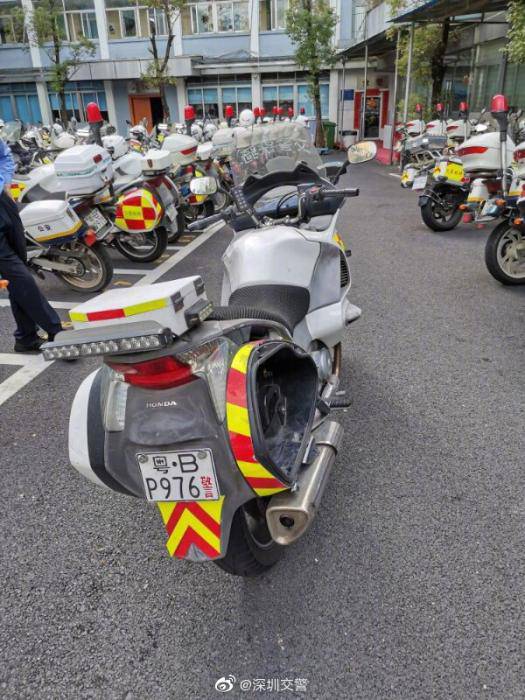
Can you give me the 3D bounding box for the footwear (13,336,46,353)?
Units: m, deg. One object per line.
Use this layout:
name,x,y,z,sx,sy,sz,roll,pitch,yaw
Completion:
footwear,-1.801,-0.044,3.888,0.233,0.089,0.082,-9,34,-21

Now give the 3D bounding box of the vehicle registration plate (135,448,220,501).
vehicle registration plate,-0.230,0.342,1.369,0.229,0.142,0.020,-10,1,21

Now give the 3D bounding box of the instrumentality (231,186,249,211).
instrumentality,-0.130,-0.884,2.948,0.082,0.130,0.031,-18,9,-21
